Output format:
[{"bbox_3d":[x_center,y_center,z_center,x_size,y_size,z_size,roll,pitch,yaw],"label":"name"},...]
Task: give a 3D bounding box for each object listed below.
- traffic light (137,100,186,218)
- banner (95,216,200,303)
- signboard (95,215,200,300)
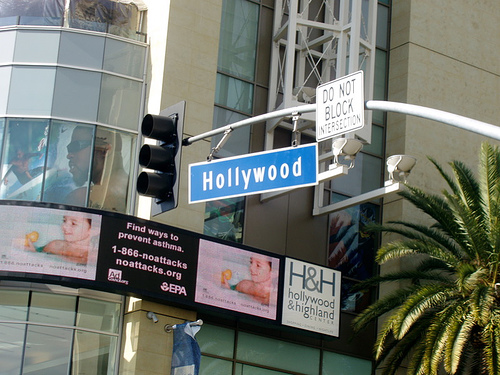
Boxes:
[{"bbox_3d":[-1.840,-0.673,20.450,0.840,2.367,0.614,3,-18,-6],"label":"traffic light"},{"bbox_3d":[-3.084,2.153,29.832,3.079,2.218,0.266,9,-19,-24],"label":"banner"},{"bbox_3d":[-3.035,2.168,29.893,3.636,2.366,0.093,16,-22,-28],"label":"signboard"}]
